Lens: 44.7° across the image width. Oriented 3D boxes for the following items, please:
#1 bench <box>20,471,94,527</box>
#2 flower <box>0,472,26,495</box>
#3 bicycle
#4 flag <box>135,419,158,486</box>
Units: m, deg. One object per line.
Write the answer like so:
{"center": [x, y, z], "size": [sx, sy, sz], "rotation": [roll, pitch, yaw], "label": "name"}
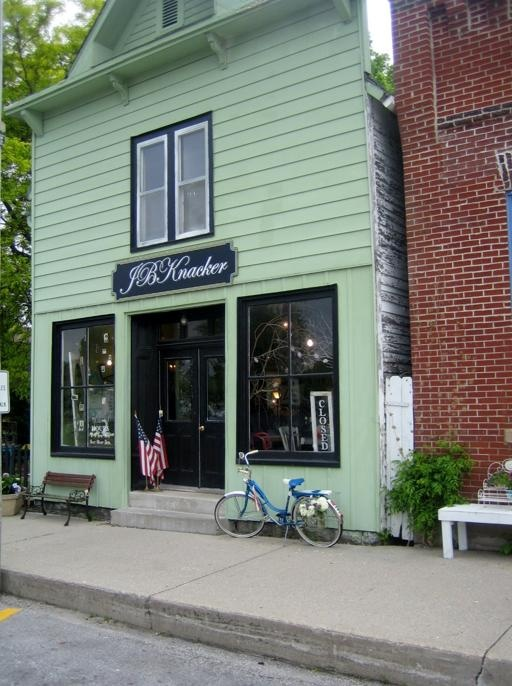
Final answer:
{"center": [-3.055, 2.326, 9.565], "size": [0.844, 0.714, 1.884], "rotation": [-4, -4, -36], "label": "bench"}
{"center": [-4.149, 2.392, 10.545], "size": [0.475, 0.255, 0.474], "rotation": [3, 6, -10], "label": "flower"}
{"center": [0.375, 1.891, 7.390], "size": [1.659, 1.032, 0.773], "rotation": [0, 2, 35], "label": "bicycle"}
{"center": [-1.613, 1.570, 9.143], "size": [0.271, 1.100, 0.366], "rotation": [-4, -4, -28], "label": "flag"}
